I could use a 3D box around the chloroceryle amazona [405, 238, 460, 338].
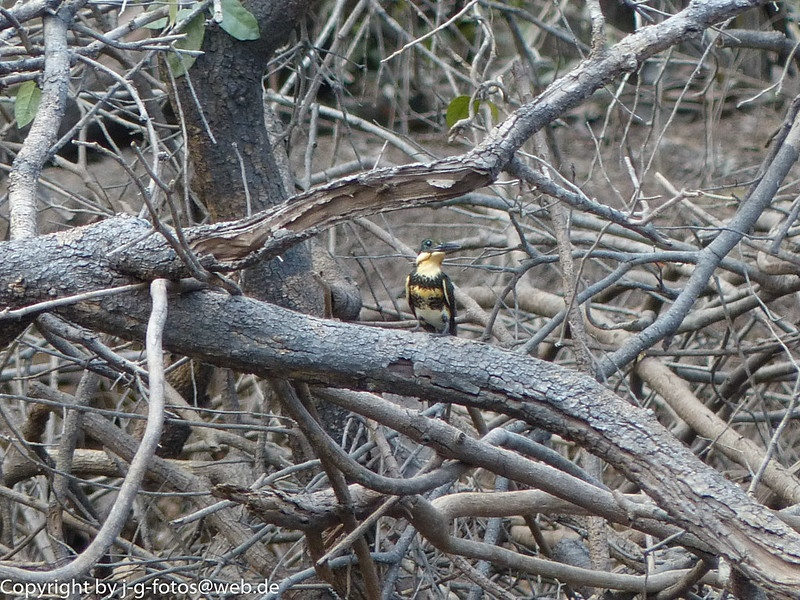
[{"bbox_3d":[0.201,-0.064,9.293,0.346,0.899,0.588,4,90,2],"label":"chloroceryle amazona"}]
